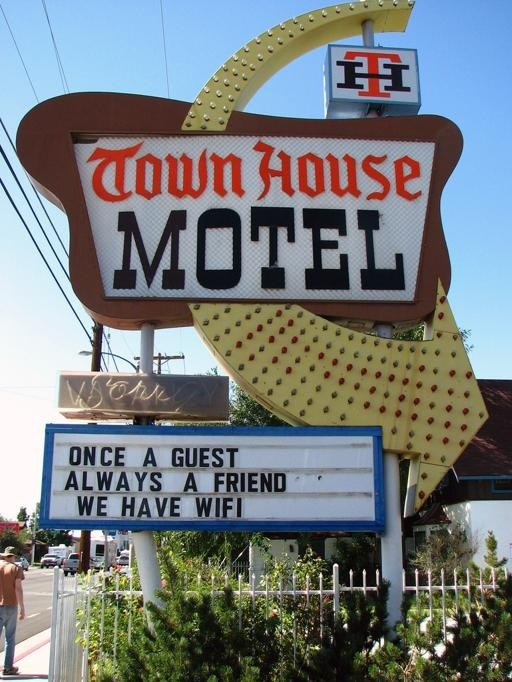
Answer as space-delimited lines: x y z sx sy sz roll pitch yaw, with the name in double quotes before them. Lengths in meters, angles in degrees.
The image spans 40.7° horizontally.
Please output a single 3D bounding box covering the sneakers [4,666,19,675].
"sneakers" -3.179 4.262 8.946 0.176 0.085 0.298 6 -20 -18
